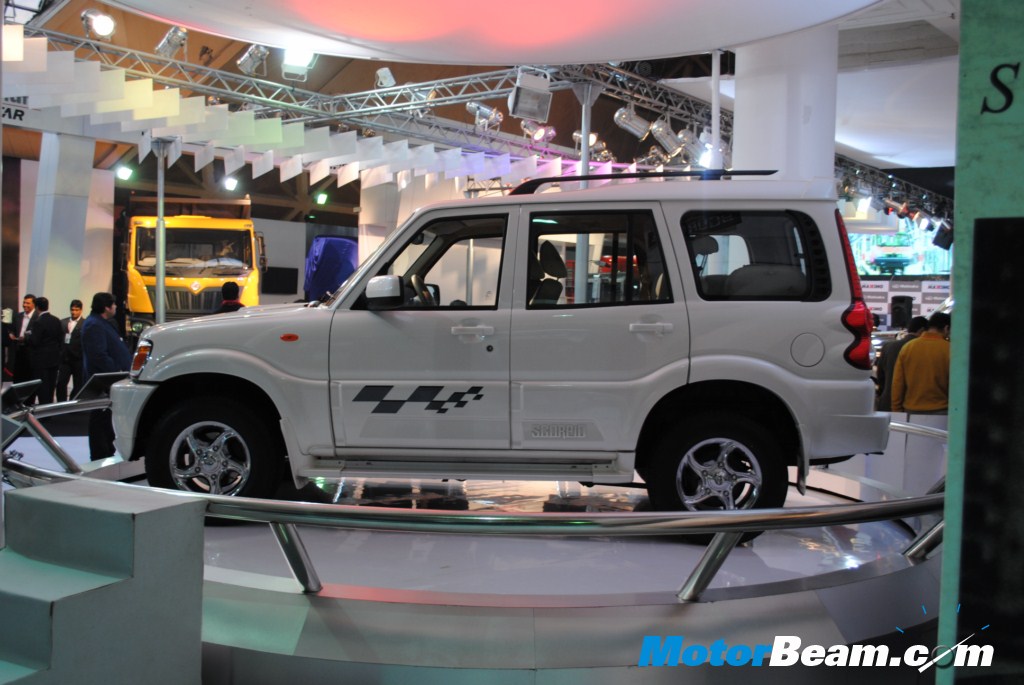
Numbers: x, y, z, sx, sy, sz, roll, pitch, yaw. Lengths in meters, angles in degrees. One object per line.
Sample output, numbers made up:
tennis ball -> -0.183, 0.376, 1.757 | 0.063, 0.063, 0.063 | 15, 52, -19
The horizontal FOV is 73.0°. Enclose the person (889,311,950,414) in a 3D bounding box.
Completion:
person -> 4.977, 0.265, 8.411 | 0.570, 1.264, 0.630 | 4, 3, 26

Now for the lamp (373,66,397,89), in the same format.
lamp -> -3.348, -6.994, 18.231 | 0.447, 0.729, 0.811 | 2, 3, -11

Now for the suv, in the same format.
suv -> -0.053, 0.058, 6.214 | 5.635, 2.407, 2.742 | 2, -1, 3

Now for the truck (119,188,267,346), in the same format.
truck -> -7.288, -2.073, 15.720 | 2.578, 2.802, 4.581 | 0, -4, -15
